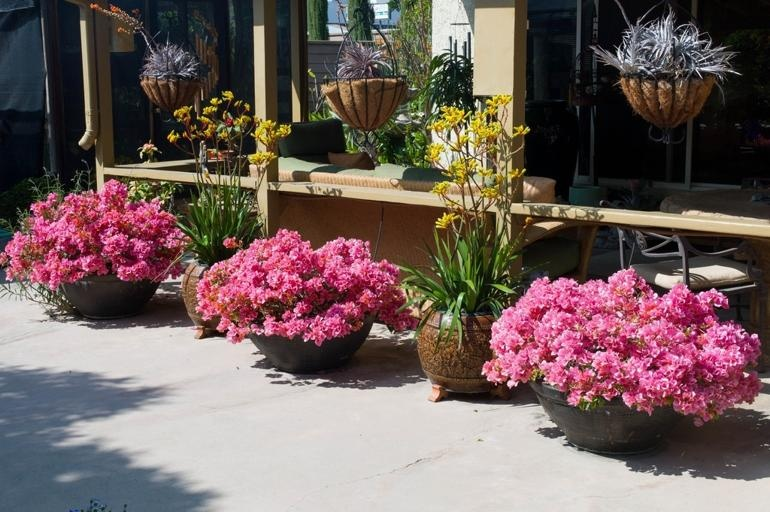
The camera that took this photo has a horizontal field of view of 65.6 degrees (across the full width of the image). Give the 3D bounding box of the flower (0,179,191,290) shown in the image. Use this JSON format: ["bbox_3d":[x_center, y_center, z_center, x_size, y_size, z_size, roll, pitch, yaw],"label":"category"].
[{"bbox_3d":[-2.457,-0.133,5.346,1.190,0.806,1.250,11,26,23],"label":"flower"}]

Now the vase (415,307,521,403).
[{"bbox_3d":[0.534,0.613,3.880,0.564,0.521,0.566,1,4,16],"label":"vase"}]

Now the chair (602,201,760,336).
[{"bbox_3d":[2.002,0.091,3.954,0.650,0.945,0.615,-20,26,-9],"label":"chair"}]

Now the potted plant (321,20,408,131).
[{"bbox_3d":[-0.213,-1.531,5.238,0.797,1.016,0.808,0,0,-10],"label":"potted plant"}]

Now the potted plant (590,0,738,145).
[{"bbox_3d":[1.763,-1.177,3.811,0.704,0.738,0.406,3,9,28],"label":"potted plant"}]

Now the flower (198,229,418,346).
[{"bbox_3d":[-0.536,0.233,4.188,1.101,0.669,0.891,7,18,22],"label":"flower"}]

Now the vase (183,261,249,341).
[{"bbox_3d":[-1.581,0.348,5.171,0.479,0.613,0.542,9,15,27],"label":"vase"}]

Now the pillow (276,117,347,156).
[{"bbox_3d":[-0.927,-1.396,7.085,0.839,0.442,0.441,-11,13,-35],"label":"pillow"}]
